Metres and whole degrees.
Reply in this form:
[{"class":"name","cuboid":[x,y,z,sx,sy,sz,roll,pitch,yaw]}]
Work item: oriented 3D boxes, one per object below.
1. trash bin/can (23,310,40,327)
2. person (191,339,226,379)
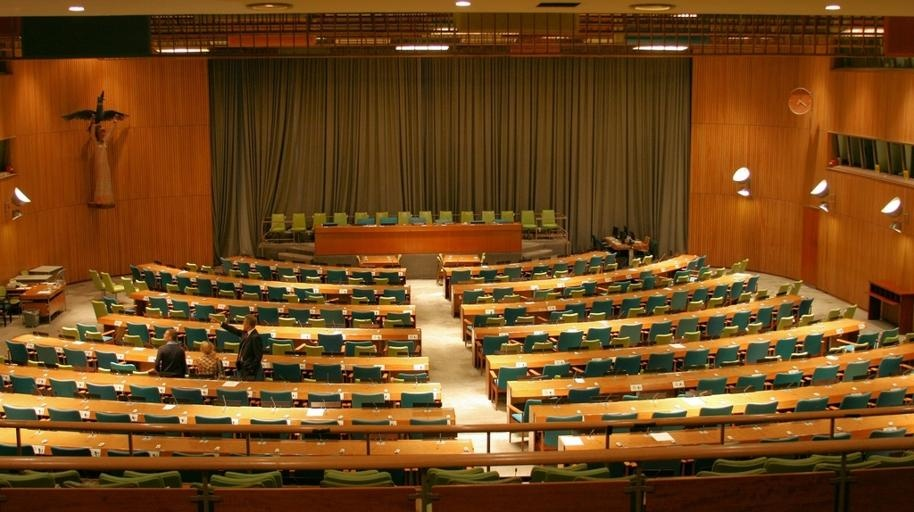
[{"class":"trash bin/can","cuboid":[-11.280,1.659,17.621,0.525,0.433,0.444,0,-89,-19]},{"class":"person","cuboid":[-4.500,1.923,12.148,0.578,0.550,0.729,-5,-74,2]}]
